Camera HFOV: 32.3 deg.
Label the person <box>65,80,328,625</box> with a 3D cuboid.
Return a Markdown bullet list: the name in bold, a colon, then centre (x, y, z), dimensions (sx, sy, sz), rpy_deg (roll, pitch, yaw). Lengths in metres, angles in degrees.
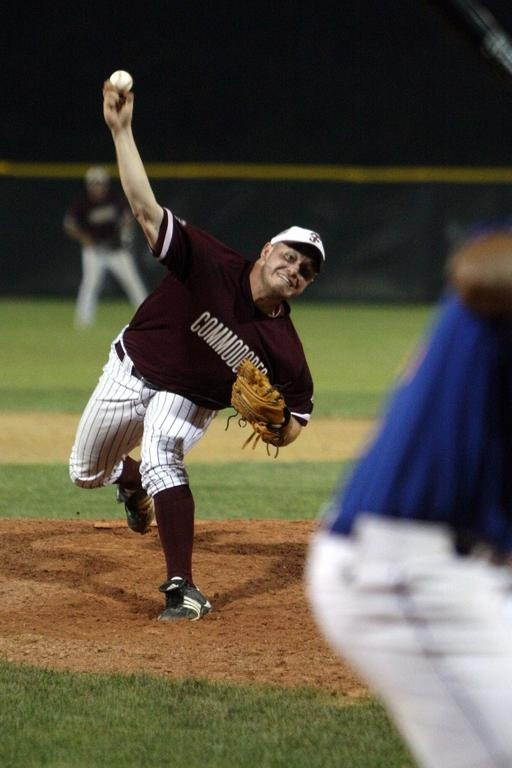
- **person**: centre (-0.345, -0.110, 3.299), dimensions (0.919, 1.820, 0.737), rpy_deg (4, 6, 33)

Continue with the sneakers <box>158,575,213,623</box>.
- **sneakers**: centre (-0.250, 0.742, 3.124), dimensions (0.179, 0.156, 0.139), rpy_deg (1, 5, -5)

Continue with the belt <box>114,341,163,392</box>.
- **belt**: centre (-0.426, -0.049, 3.452), dimensions (0.167, 0.051, 0.215), rpy_deg (28, -16, 36)

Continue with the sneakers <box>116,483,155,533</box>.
- **sneakers**: centre (-0.581, 0.589, 4.183), dimensions (0.147, 0.298, 0.110), rpy_deg (-21, 31, -28)
